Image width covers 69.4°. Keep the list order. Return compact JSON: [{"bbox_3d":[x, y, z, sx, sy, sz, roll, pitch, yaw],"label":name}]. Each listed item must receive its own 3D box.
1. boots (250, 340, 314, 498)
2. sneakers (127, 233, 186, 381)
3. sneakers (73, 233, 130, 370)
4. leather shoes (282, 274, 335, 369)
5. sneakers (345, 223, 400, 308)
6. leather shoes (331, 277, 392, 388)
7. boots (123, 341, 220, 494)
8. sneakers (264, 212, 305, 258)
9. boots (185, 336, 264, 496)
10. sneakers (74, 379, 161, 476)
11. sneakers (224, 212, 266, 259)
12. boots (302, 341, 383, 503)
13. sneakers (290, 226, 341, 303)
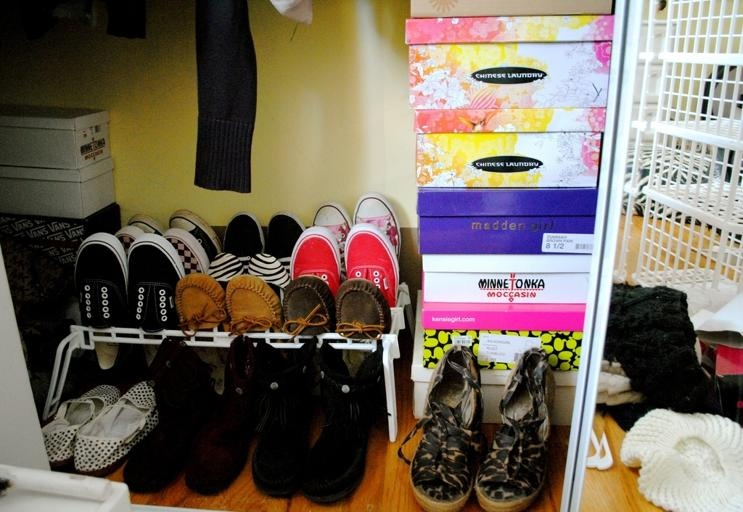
[{"bbox_3d":[-0.200,0.387,1.388,0.123,0.161,0.408,-2,48,4],"label":"boots"},{"bbox_3d":[-0.593,0.144,1.534,0.130,0.382,0.133,-4,9,1],"label":"sneakers"},{"bbox_3d":[-0.750,0.144,1.572,0.131,0.397,0.139,-1,15,-6],"label":"sneakers"},{"bbox_3d":[-0.169,0.159,1.386,0.120,0.236,0.089,-1,8,4],"label":"leather shoes"},{"bbox_3d":[0.000,0.006,1.566,0.103,0.299,0.106,0,12,6],"label":"sneakers"},{"bbox_3d":[-0.034,0.188,1.363,0.137,0.246,0.090,1,9,9],"label":"leather shoes"},{"bbox_3d":[-0.505,0.401,1.441,0.134,0.407,0.170,0,-28,15],"label":"boots"},{"bbox_3d":[-0.290,-0.065,1.786,0.081,0.188,0.073,12,7,11],"label":"sneakers"},{"bbox_3d":[-0.388,0.432,1.402,0.135,0.259,0.409,4,17,9],"label":"boots"},{"bbox_3d":[-0.680,0.458,1.432,0.143,0.087,0.303,3,17,-5],"label":"sneakers"},{"bbox_3d":[-0.418,-0.064,1.745,0.085,0.179,0.063,1,5,1],"label":"sneakers"},{"bbox_3d":[-0.035,0.381,1.383,0.142,0.181,0.423,2,39,9],"label":"boots"},{"bbox_3d":[-0.174,0.032,1.748,0.147,0.153,0.410,7,-20,4],"label":"sneakers"}]
